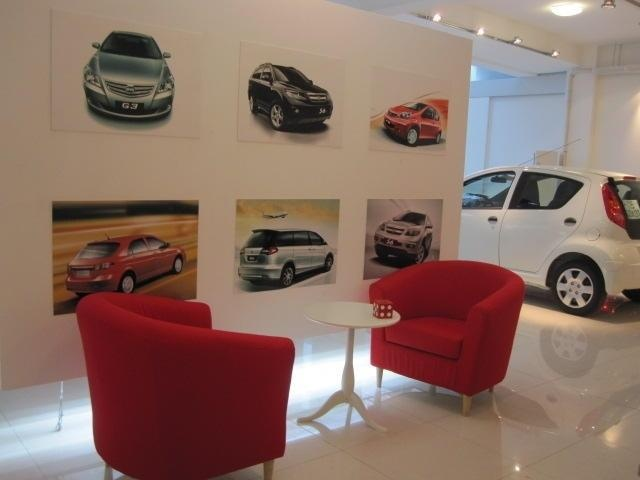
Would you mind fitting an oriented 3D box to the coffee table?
[{"bbox_3d":[0.217,0.960,3.451,0.745,0.931,0.783,-12,30,-27],"label":"coffee table"}]

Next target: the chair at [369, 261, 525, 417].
[{"bbox_3d":[1.132,0.778,3.931,1.068,1.128,1.141,0,5,-39],"label":"chair"}]
